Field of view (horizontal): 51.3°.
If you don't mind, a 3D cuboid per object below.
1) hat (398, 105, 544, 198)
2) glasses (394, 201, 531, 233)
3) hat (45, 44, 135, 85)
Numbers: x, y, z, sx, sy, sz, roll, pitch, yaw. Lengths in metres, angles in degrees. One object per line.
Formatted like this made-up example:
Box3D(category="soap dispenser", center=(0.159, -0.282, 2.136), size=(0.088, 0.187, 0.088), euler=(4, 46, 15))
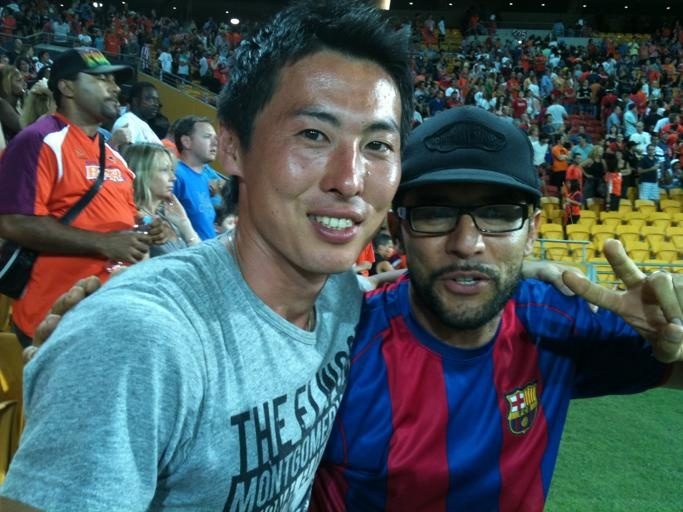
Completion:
Box3D(category="hat", center=(0.460, -0.405, 2.676), size=(0.618, 0.338, 0.617), euler=(-1, 5, -20))
Box3D(category="glasses", center=(0.431, -0.136, 2.536), size=(0.449, 0.137, 0.081), euler=(6, 12, 5))
Box3D(category="hat", center=(-1.403, -1.058, 3.897), size=(0.368, 0.193, 0.249), euler=(-11, 11, -18))
